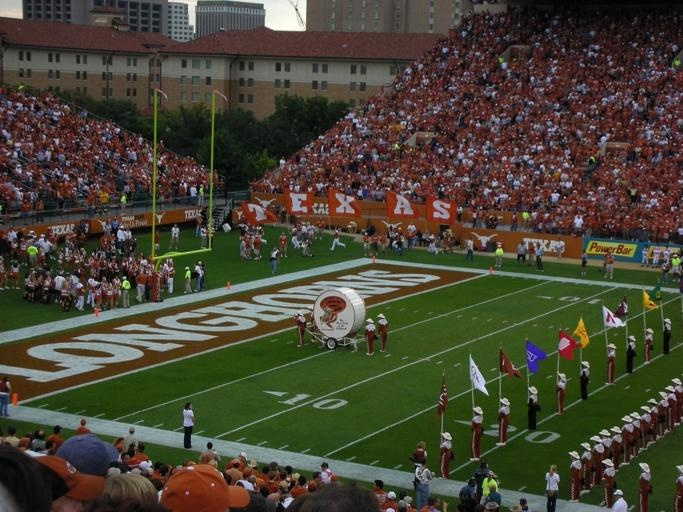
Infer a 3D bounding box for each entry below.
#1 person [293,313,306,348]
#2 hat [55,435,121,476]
[{"bbox_3d":[-1.911,3.353,59.425,0.462,1.547,1.074,1,2,-7],"label":"person"},{"bbox_3d":[-6.926,5.399,35.118,1.336,0.781,1.022,7,25,-33],"label":"hat"}]
